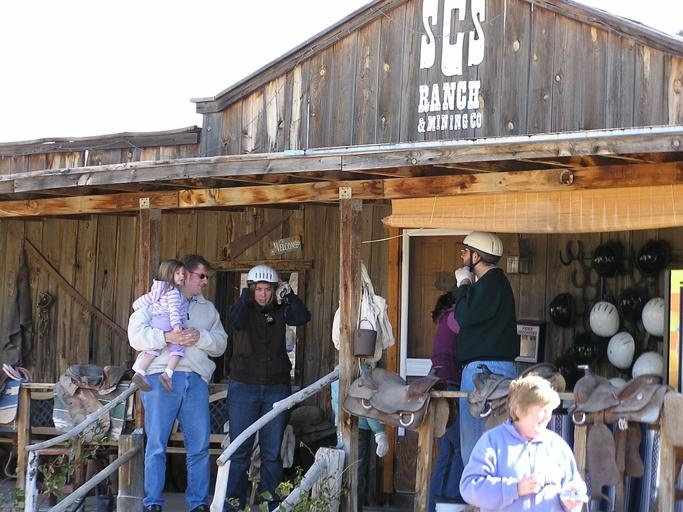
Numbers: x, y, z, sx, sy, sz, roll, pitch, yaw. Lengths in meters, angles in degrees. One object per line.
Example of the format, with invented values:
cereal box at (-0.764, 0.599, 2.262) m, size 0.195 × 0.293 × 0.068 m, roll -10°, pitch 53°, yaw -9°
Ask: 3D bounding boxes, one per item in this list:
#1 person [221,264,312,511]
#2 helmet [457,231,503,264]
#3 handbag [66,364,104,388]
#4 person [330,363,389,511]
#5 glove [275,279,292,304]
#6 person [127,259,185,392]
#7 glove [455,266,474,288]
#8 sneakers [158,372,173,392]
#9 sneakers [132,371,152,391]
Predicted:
person at (-0.771, 1.286, 9.765) m, size 0.754 × 2.408 × 0.578 m, roll -1°, pitch -7°, yaw 6°
helmet at (1.322, -0.081, 9.292) m, size 0.327 × 0.267 × 0.257 m, roll 18°, pitch 4°, yaw 18°
handbag at (-2.749, 1.276, 10.446) m, size 0.302 × 0.142 × 0.276 m, roll 12°, pitch 4°, yaw -15°
person at (0.168, 1.866, 9.888) m, size 0.526 × 1.528 × 1.623 m, roll 0°, pitch -7°, yaw -1°
glove at (-0.586, 0.381, 9.970) m, size 0.161 × 0.292 × 0.103 m, roll 8°, pitch 2°, yaw 21°
person at (-1.744, 0.732, 9.561) m, size 0.468 × 1.161 × 0.449 m, roll 15°, pitch -47°, yaw -10°
glove at (1.192, 0.204, 9.468) m, size 0.136 × 0.210 × 0.084 m, roll 4°, pitch -13°, yaw 26°
sneakers at (-1.681, 1.195, 9.399) m, size 0.070 × 0.215 × 0.089 m, roll -5°, pitch 28°, yaw 19°
sneakers at (-1.931, 1.205, 9.453) m, size 0.103 × 0.235 × 0.103 m, roll -23°, pitch 24°, yaw 20°
